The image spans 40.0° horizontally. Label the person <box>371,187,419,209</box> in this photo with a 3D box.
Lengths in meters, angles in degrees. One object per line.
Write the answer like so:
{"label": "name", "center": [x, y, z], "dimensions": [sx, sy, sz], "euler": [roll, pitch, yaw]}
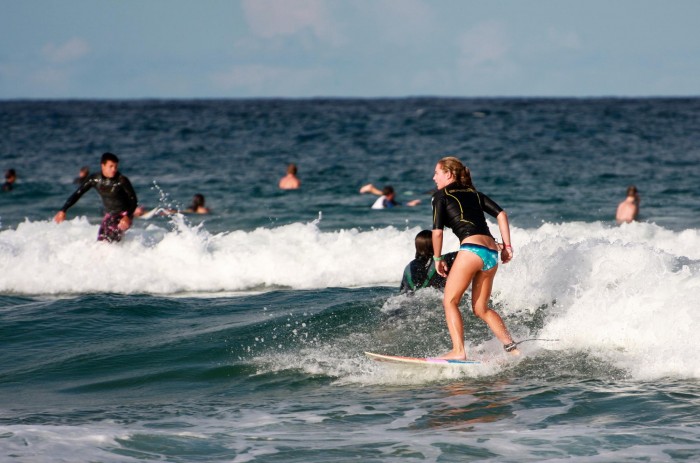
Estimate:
{"label": "person", "center": [1.321, -1.055, 29.745], "dimensions": [1.592, 0.695, 0.617], "euler": [-3, 3, -32]}

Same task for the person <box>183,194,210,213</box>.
{"label": "person", "center": [-4.639, -0.848, 29.105], "dimensions": [0.784, 0.589, 0.704], "euler": [-2, 2, -8]}

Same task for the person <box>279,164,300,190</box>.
{"label": "person", "center": [-2.049, -1.849, 32.421], "dimensions": [0.705, 0.862, 1.128], "euler": [-2, 2, -3]}

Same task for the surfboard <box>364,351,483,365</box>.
{"label": "surfboard", "center": [1.418, 2.357, 17.900], "dimensions": [2.489, 0.281, 0.171], "euler": [1, 36, 12]}

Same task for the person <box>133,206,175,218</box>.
{"label": "person", "center": [-5.676, -0.569, 27.739], "dimensions": [0.848, 0.206, 0.432], "euler": [-1, -8, -20]}

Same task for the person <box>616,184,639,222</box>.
{"label": "person", "center": [8.179, -0.788, 28.068], "dimensions": [0.478, 1.053, 0.748], "euler": [-3, 3, -11]}
